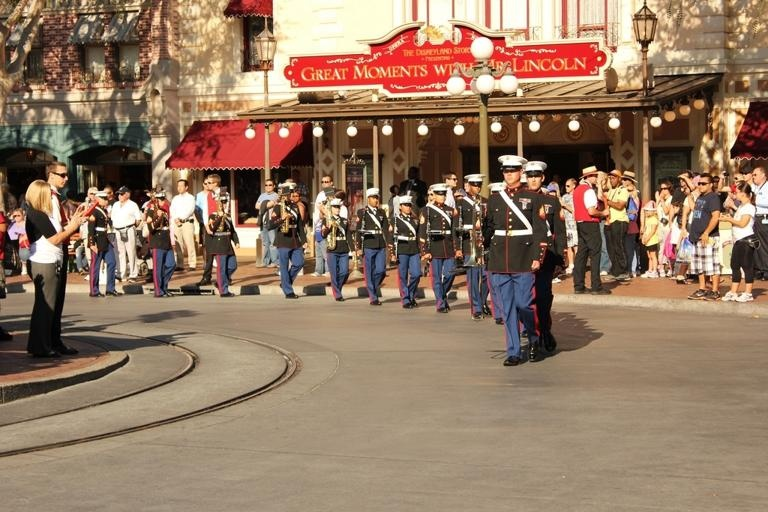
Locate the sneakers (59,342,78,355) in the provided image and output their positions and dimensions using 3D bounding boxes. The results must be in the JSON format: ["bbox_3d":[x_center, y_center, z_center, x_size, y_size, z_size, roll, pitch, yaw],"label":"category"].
[{"bbox_3d":[-4.897,1.465,19.726,0.425,0.163,0.144,1,-1,2],"label":"sneakers"}]

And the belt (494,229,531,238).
[{"bbox_3d":[2.011,-0.347,19.607,0.578,0.084,0.140,-2,1,11],"label":"belt"}]

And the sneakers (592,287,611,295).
[{"bbox_3d":[4.378,0.726,25.368,0.324,0.127,0.167,-1,3,-10],"label":"sneakers"}]

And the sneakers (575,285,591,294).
[{"bbox_3d":[4.020,0.698,25.570,0.312,0.128,0.123,-1,1,-32],"label":"sneakers"}]

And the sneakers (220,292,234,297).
[{"bbox_3d":[-3.372,0.834,26.986,0.198,0.082,0.114,-2,-3,9],"label":"sneakers"}]

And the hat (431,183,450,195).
[{"bbox_3d":[1.013,-1.297,24.158,0.240,0.112,0.267,5,-9,-25],"label":"hat"}]

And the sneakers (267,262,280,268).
[{"bbox_3d":[-2.849,0.251,32.401,0.322,0.135,0.109,1,-2,23],"label":"sneakers"}]

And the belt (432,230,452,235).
[{"bbox_3d":[1.092,-0.437,23.992,0.310,0.073,0.077,-2,1,-8],"label":"belt"}]

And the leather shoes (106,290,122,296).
[{"bbox_3d":[-5.942,0.825,27.656,0.263,0.107,0.124,-1,-2,11],"label":"leather shoes"}]

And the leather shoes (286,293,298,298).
[{"bbox_3d":[-1.947,0.849,26.728,0.200,0.085,0.100,-1,-1,35],"label":"leather shoes"}]

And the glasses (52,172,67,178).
[{"bbox_3d":[-5.145,-1.278,20.065,0.144,0.081,0.240,-2,1,30],"label":"glasses"}]

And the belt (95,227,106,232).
[{"bbox_3d":[-6.188,-0.571,27.535,0.154,0.056,0.113,-5,-1,43],"label":"belt"}]

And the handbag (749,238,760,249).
[{"bbox_3d":[6.975,-0.232,23.780,0.177,0.168,0.229,-6,9,-41],"label":"handbag"}]
